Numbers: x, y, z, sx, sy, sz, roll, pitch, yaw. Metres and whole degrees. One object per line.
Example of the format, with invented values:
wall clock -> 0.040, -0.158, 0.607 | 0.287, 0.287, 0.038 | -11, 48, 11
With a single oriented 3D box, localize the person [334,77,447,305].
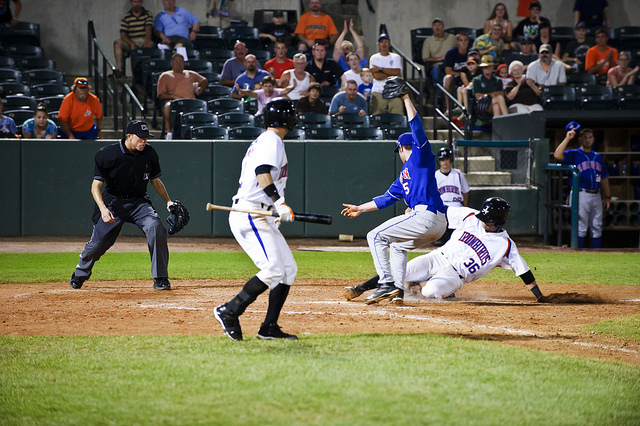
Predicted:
person -> 1.469, -0.370, 17.840 | 1.425, 3.894, 0.665 | 1, 5, 3

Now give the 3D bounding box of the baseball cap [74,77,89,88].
baseball cap -> -5.467, -3.006, 23.744 | 0.345, 0.288, 0.431 | 0, 6, -6

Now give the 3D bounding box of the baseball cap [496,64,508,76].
baseball cap -> 4.466, -3.504, 25.379 | 0.266, 0.298, 0.402 | 2, 4, 10

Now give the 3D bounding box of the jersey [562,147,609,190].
jersey -> 6.113, -0.973, 23.839 | 1.369, 1.027, 0.485 | 5, -9, -19

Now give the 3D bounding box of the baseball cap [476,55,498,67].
baseball cap -> 4.010, -3.648, 24.900 | 0.293, 0.285, 0.277 | 1, 4, 5

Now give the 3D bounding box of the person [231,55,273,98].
person -> -1.696, -3.319, 25.240 | 0.923, 1.020, 0.662 | 4, 5, 33

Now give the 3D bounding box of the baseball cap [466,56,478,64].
baseball cap -> 3.762, -3.757, 25.459 | 0.213, 0.144, 0.209 | 2, 4, 5

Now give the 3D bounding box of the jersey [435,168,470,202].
jersey -> 2.794, -0.587, 21.969 | 0.914, 0.787, 0.382 | -2, -4, -22

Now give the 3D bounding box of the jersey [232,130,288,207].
jersey -> -0.907, -0.620, 16.372 | 0.868, 1.234, 1.352 | 11, -3, -1

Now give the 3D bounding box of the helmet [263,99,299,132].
helmet -> -0.646, -1.554, 16.293 | 0.619, 0.512, 0.462 | -2, 12, -29

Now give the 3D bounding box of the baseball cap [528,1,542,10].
baseball cap -> 6.008, -5.810, 28.998 | 0.362, 0.164, 0.568 | 0, 12, 11

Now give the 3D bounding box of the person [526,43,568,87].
person -> 5.667, -3.665, 25.752 | 1.029, 0.997, 0.603 | 1, 4, 3

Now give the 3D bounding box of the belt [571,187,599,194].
belt -> 6.158, -0.508, 23.680 | 0.431, 0.121, 0.099 | 2, 4, 13

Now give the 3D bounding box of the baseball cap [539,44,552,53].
baseball cap -> 5.612, -4.097, 25.779 | 0.272, 0.240, 0.513 | 2, 4, 11

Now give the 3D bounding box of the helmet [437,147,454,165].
helmet -> 2.719, -1.230, 22.298 | 0.341, 0.347, 0.453 | 0, -5, 4

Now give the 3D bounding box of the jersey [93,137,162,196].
jersey -> -3.417, -0.845, 18.639 | 1.298, 1.021, 0.625 | -2, 15, -27

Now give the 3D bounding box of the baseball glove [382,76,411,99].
baseball glove -> 1.321, -2.149, 17.773 | 0.397, 0.377, 0.135 | -2, 6, 8
